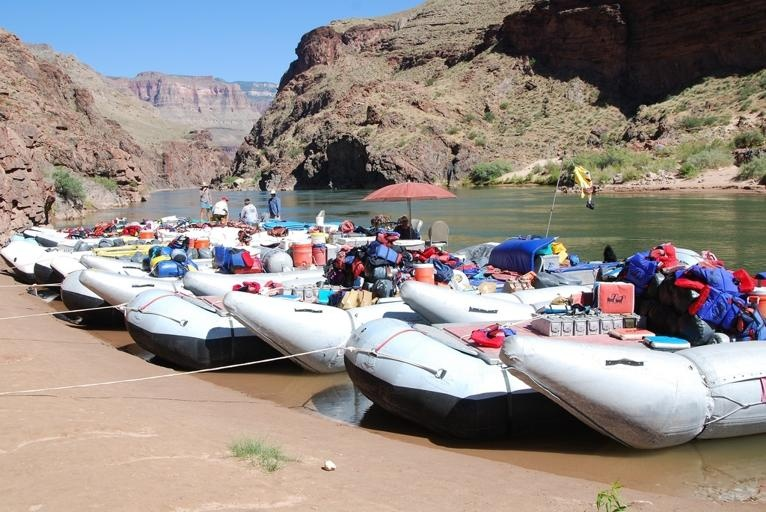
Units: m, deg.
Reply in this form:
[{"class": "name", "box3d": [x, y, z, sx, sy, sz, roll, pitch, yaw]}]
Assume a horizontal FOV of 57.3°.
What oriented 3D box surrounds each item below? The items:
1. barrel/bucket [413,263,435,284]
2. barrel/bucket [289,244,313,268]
[{"class": "barrel/bucket", "box3d": [0.797, 0.328, 13.328, 0.530, 0.335, 0.408, -2, -3, 13]}, {"class": "barrel/bucket", "box3d": [-2.024, -0.014, 15.885, 0.704, 0.441, 0.594, 0, -4, -20]}]
